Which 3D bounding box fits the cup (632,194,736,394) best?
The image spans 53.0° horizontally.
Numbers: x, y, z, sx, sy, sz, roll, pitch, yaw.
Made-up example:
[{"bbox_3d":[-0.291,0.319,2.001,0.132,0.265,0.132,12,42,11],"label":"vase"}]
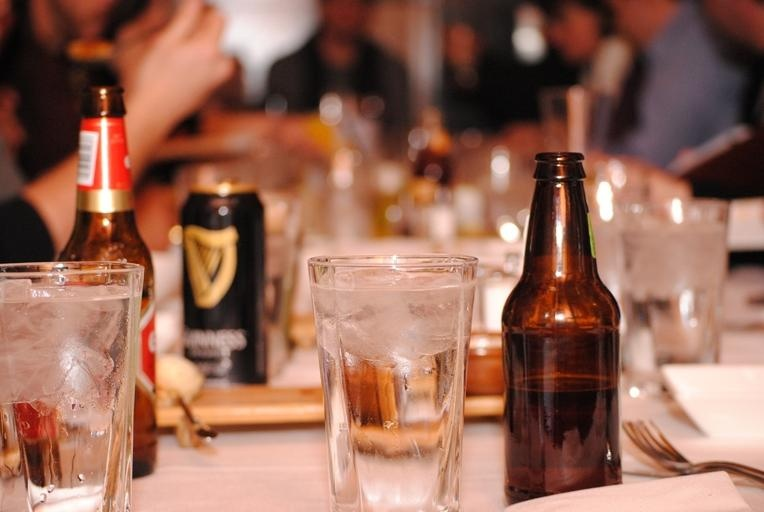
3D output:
[{"bbox_3d":[0.329,0.030,0.911,0.134,0.209,0.127,-4,18,1],"label":"cup"}]
